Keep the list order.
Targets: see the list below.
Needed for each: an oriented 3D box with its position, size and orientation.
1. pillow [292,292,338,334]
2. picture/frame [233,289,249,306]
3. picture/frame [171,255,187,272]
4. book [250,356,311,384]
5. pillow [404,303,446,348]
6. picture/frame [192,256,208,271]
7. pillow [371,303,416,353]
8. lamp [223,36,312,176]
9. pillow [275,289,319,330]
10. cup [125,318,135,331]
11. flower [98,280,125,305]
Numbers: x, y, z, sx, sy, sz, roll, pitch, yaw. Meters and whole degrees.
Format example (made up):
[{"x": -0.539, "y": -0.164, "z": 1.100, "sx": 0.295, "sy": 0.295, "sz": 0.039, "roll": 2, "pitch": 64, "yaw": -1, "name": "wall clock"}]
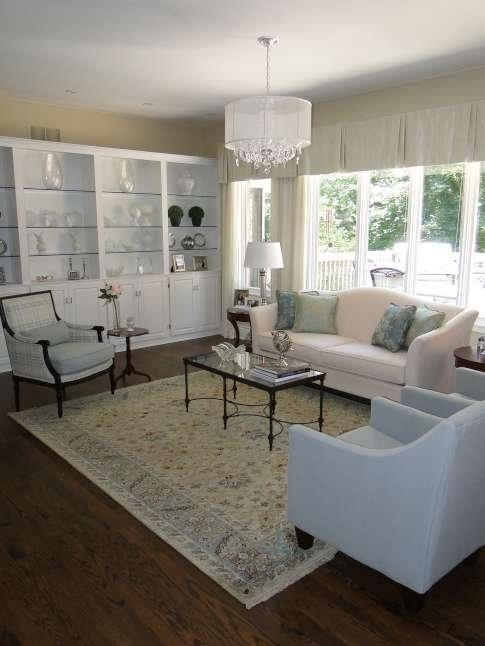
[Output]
[{"x": 0.728, "y": -0.082, "z": 4.792, "sx": 0.359, "sy": 0.353, "sz": 0.140, "roll": 8, "pitch": -16, "yaw": 5, "name": "pillow"}, {"x": -0.005, "y": -0.348, "z": 6.541, "sx": 0.221, "sy": 0.212, "sz": 0.023, "roll": 11, "pitch": 14, "yaw": 42, "name": "picture/frame"}, {"x": -0.868, "y": -0.814, "z": 6.580, "sx": 0.029, "sy": 0.291, "sz": 0.281, "roll": -4, "pitch": 1, "yaw": 40, "name": "picture/frame"}, {"x": 0.276, "y": 0.319, "z": 3.303, "sx": 0.226, "sy": 0.050, "sz": 0.220, "roll": -11, "pitch": 18, "yaw": -43, "name": "book"}, {"x": 1.559, "y": 0.053, "z": 3.926, "sx": 0.111, "sy": 0.332, "sz": 0.360, "roll": 18, "pitch": 4, "yaw": -8, "name": "pillow"}, {"x": -0.610, "y": -0.854, "z": 6.883, "sx": 0.016, "sy": 0.193, "sz": 0.233, "roll": -1, "pitch": 7, "yaw": 44, "name": "picture/frame"}, {"x": 1.281, "y": 0.036, "z": 4.069, "sx": 0.156, "sy": 0.376, "sz": 0.379, "roll": 24, "pitch": 1, "yaw": -7, "name": "pillow"}, {"x": 0.201, "y": -1.632, "z": 3.533, "sx": 0.611, "sy": 0.840, "sz": 0.595, "roll": 2, "pitch": 24, "yaw": 9, "name": "lamp"}, {"x": 0.555, "y": -0.122, "z": 4.838, "sx": 0.413, "sy": 0.448, "sz": 0.159, "roll": 1, "pitch": -2, "yaw": -3, "name": "pillow"}, {"x": -1.098, "y": 0.007, "z": 4.754, "sx": 0.066, "sy": 0.120, "sz": 0.146, "roll": -2, "pitch": 10, "yaw": -9, "name": "cup"}, {"x": -1.442, "y": -0.342, "z": 5.258, "sx": 0.283, "sy": 0.229, "sz": 0.285, "roll": 18, "pitch": 19, "yaw": 26, "name": "flower"}]
